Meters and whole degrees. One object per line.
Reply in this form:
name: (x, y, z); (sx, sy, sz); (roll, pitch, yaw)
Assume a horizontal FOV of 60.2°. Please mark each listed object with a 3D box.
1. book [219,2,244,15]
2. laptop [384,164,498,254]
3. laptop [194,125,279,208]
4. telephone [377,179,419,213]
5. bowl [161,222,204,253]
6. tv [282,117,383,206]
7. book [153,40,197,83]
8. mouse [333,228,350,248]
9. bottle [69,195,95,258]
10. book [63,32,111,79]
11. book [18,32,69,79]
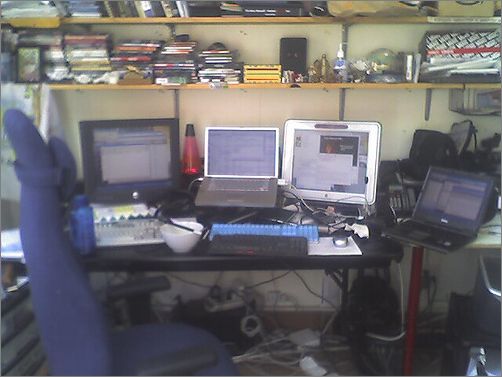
book: (-0.101, -0.971, 2.328); (0.117, 0.072, 0.025); (-3, 17, -1)
laptop: (0.967, 0.077, 2.178); (0.498, 0.343, 0.422); (-10, 18, -38)
laptop: (-0.051, -0.128, 2.358); (0.461, 0.436, 0.288); (2, 8, 3)
telephone: (0.825, 0.042, 2.367); (0.191, 0.183, 0.069); (5, -20, 17)
bowl: (-0.334, 0.243, 2.004); (0.152, 0.092, 0.152); (0, 6, 0)
tv: (0.438, -0.140, 2.334); (0.441, 0.383, 0.046); (5, 3, 6)
book: (-0.435, -0.725, 2.489); (0.256, 0.234, 0.243); (-5, 17, -7)
mouse: (0.423, 0.239, 2.029); (0.050, 0.024, 0.073); (-2, 32, 20)
bottle: (-0.748, 0.165, 1.931); (0.078, 0.222, 0.157); (0, -3, -20)
book: (-0.917, -0.743, 2.431); (0.248, 0.254, 0.124); (-7, 17, -13)
book: (-1.135, -0.715, 2.375); (0.278, 0.258, 0.068); (1, 9, -8)
